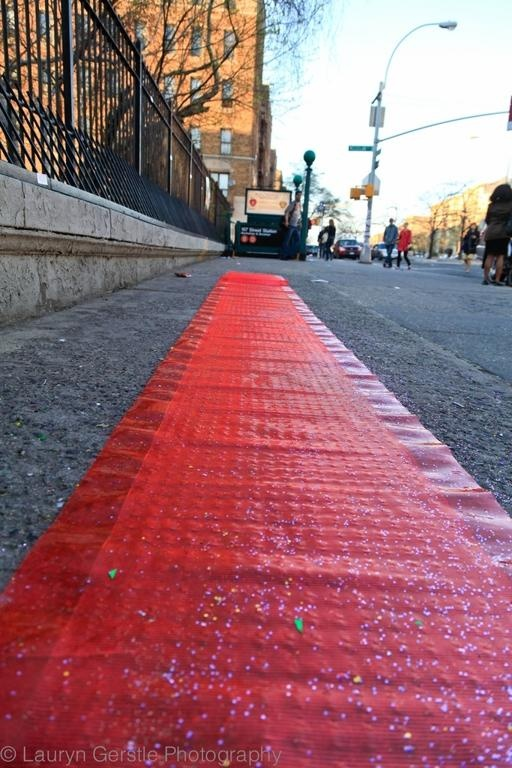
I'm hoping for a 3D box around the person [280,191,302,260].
[{"bbox_3d":[1.227,-5.262,17.648,0.598,2.209,1.331,5,15,4],"label":"person"}]

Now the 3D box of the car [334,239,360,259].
[{"bbox_3d":[7.759,-11.586,44.853,2.103,1.833,3.699,-1,12,0],"label":"car"}]
